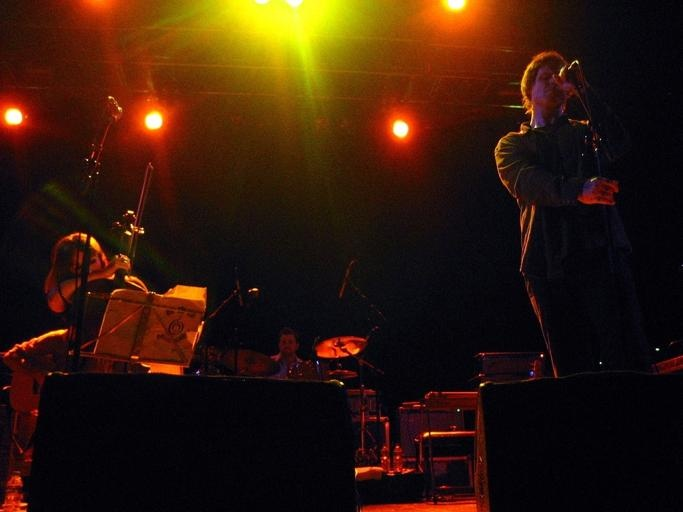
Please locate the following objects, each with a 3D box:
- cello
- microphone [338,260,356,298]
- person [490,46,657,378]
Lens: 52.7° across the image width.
[{"bbox_3d":[-1.664,0.286,5.024,0.571,1.842,0.519,2,-48,-17],"label":"cello"},{"bbox_3d":[0.064,0.331,8.845,0.150,0.608,0.146,-16,-51,35],"label":"microphone"},{"bbox_3d":[1.203,-0.264,3.648,0.664,1.830,0.646,-14,-34,25],"label":"person"}]
